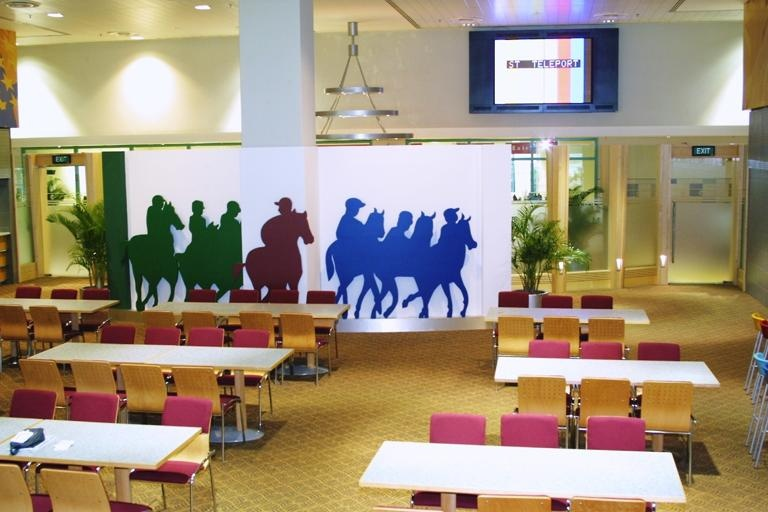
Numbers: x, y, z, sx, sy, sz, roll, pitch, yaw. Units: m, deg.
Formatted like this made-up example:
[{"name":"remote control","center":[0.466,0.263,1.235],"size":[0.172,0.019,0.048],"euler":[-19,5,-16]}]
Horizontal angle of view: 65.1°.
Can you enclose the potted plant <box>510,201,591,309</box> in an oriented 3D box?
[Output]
[{"name":"potted plant","center":[4.261,-0.230,15.415],"size":[2.547,2.550,2.241],"euler":[6,8,36]}]

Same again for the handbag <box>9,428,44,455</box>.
[{"name":"handbag","center":[-3.615,1.868,6.098],"size":[0.173,0.077,0.258],"euler":[3,8,5]}]

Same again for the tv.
[{"name":"tv","center":[4.677,-5.479,17.358],"size":[2.039,1.387,0.093],"euler":[0,3,6]}]
